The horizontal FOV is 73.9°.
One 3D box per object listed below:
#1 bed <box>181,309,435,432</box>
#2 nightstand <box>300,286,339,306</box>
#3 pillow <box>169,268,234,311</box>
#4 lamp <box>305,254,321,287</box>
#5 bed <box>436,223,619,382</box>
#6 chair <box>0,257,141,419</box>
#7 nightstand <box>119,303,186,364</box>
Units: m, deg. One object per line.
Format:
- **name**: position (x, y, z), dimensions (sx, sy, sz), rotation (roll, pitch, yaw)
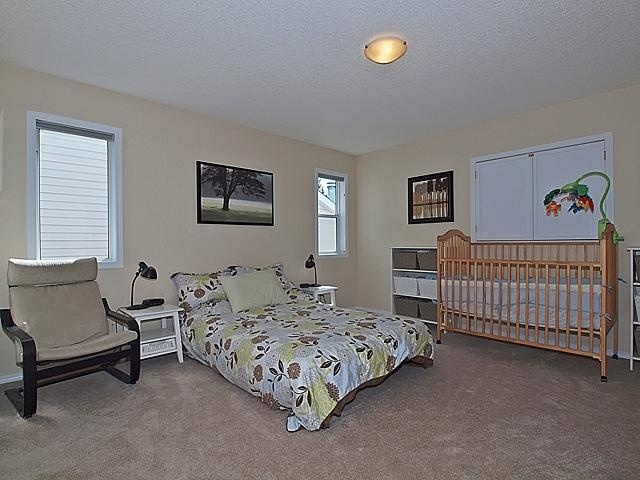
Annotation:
- **bed**: position (-0.353, 1.003, 3.883), dimensions (1.170, 0.450, 1.384), rotation (0, -3, -44)
- **nightstand**: position (-0.005, 0.725, 5.906), dimensions (0.366, 0.368, 0.363), rotation (1, -4, -42)
- **pillow**: position (-1.368, 0.539, 4.795), dimensions (0.567, 0.415, 0.169), rotation (-6, -21, -30)
- **lamp**: position (-0.113, 0.441, 6.128), dimensions (0.198, 0.339, 0.577), rotation (-2, 0, -2)
- **bed**: position (2.348, 0.583, 4.883), dimensions (1.295, 1.291, 1.718), rotation (-1, 3, -42)
- **chair**: position (-2.161, 0.830, 3.874), dimensions (1.258, 1.619, 1.182), rotation (-3, -3, 45)
- **nightstand**: position (-1.737, 0.986, 4.533), dimensions (0.597, 0.646, 0.580), rotation (1, -4, -39)
